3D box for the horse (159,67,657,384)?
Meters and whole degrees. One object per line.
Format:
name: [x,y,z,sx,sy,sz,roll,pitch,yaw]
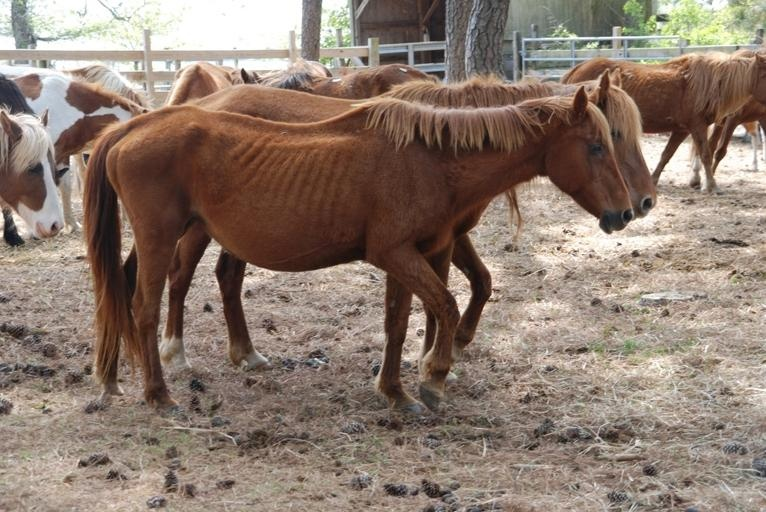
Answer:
horse: [-0.539,-0.132,7.030,5.333,2.733,1.144,1,18,-28]
